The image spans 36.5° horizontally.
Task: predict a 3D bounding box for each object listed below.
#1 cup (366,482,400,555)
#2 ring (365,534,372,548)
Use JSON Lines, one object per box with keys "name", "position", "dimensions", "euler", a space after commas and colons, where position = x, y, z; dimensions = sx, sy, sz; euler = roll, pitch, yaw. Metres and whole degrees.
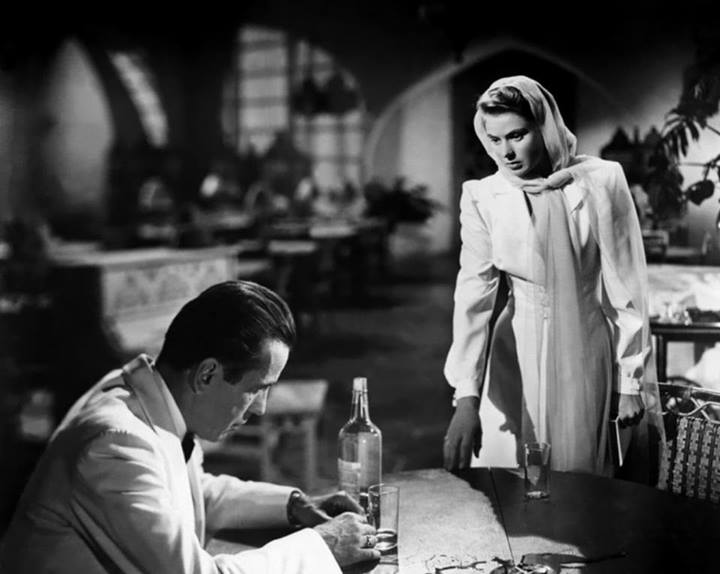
{"name": "cup", "position": [0.075, 0.694, 3.277], "dimensions": [0.154, 0.186, 0.159], "euler": [0, -9, 0]}
{"name": "ring", "position": [0.024, 0.743, 3.200], "dimensions": [0.024, 0.026, 0.026], "euler": [0, -4, 0]}
